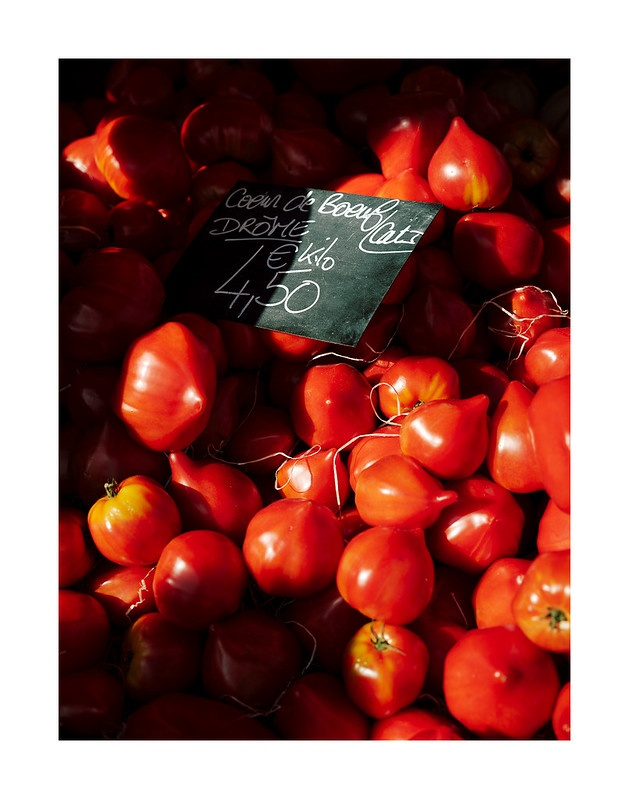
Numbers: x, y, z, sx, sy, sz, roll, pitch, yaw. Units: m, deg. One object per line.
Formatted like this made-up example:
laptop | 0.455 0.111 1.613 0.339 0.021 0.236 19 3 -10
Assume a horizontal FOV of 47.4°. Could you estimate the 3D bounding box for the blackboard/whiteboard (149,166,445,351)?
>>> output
blackboard/whiteboard | -0.011 -0.130 0.689 0.202 0.138 0.010 14 -25 21
